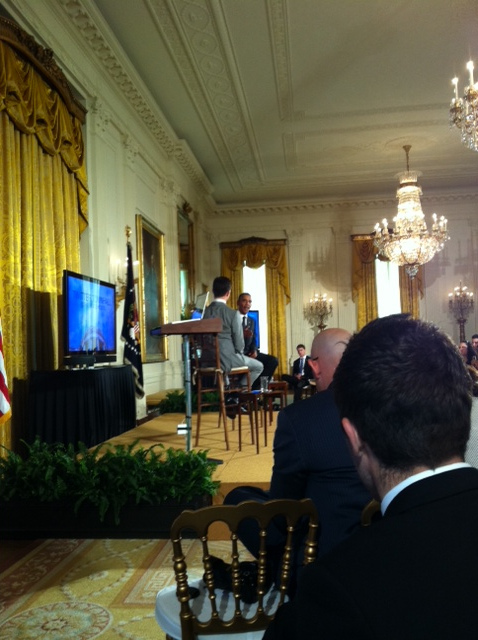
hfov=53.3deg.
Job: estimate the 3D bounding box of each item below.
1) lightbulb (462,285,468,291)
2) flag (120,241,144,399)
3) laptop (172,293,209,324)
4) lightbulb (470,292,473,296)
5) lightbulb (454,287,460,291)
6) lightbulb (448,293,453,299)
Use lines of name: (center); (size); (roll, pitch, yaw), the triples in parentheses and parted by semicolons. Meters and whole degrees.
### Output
lightbulb: (6.314, -0.902, 13.352); (0.212, 0.149, 0.085); (-1, -2, -26)
flag: (-1.488, 0.130, 6.606); (0.106, 1.750, 0.604); (4, 2, 1)
laptop: (-0.478, -0.112, 4.604); (0.305, 0.258, 0.354); (-1, -4, -7)
lightbulb: (6.457, -0.730, 13.262); (0.057, 0.097, 0.185); (-3, -2, 30)
lightbulb: (6.096, -0.877, 13.357); (0.148, 0.093, 0.111); (-3, -2, 21)
lightbulb: (5.934, -0.700, 13.385); (0.124, 0.126, 0.124); (0, 1, 11)
